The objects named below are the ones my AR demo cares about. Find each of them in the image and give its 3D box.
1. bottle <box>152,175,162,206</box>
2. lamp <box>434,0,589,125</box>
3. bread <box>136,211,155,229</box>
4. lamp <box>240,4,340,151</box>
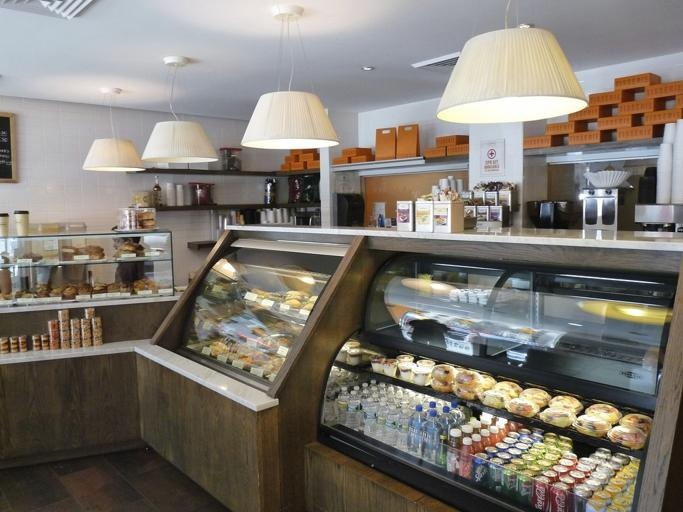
[{"bbox_3d":[-2.406,-0.837,6.283,0.109,0.406,0.379,-5,7,-18],"label":"bottle"},{"bbox_3d":[0.700,-0.800,1.998,0.580,0.429,0.487,-7,8,-32],"label":"lamp"},{"bbox_3d":[-1.635,-0.287,3.964,0.143,0.107,0.137,1,1,25],"label":"bread"},{"bbox_3d":[-0.337,-1.195,3.248,0.559,0.969,1.318,-3,6,-1],"label":"lamp"}]
